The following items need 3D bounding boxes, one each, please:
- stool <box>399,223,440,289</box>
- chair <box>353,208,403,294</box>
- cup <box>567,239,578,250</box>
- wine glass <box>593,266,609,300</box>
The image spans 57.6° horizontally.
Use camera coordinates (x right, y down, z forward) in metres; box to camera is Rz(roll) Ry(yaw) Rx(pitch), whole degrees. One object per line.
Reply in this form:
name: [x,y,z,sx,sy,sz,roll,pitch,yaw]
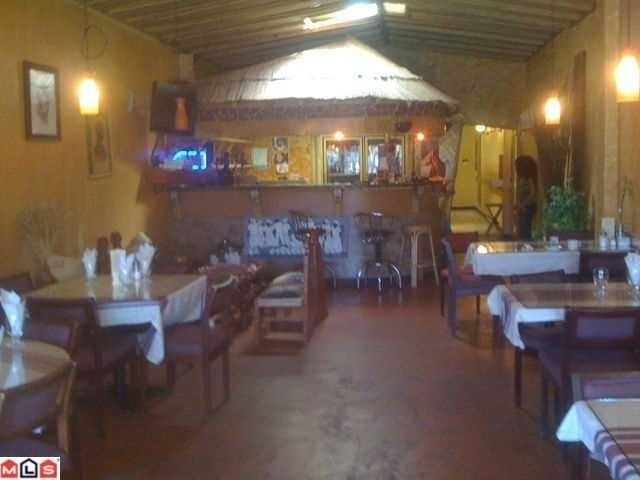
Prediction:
stool: [1.653,0.235,9.346,0.704,0.956,0.670,-3,11,-14]
chair: [0.934,0.152,9.222,0.724,1.165,0.613,0,10,3]
cup: [2.834,0.039,6.512,0.098,0.100,0.100,-4,21,1]
wine glass: [2.339,0.333,4.827,0.103,0.212,0.391,5,12,27]
